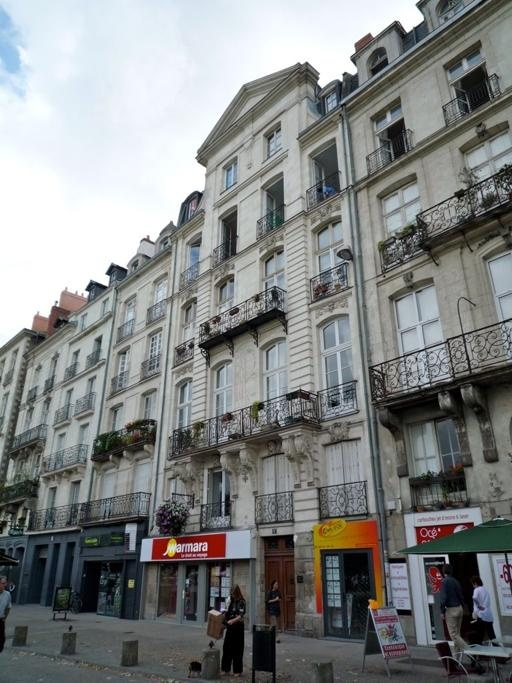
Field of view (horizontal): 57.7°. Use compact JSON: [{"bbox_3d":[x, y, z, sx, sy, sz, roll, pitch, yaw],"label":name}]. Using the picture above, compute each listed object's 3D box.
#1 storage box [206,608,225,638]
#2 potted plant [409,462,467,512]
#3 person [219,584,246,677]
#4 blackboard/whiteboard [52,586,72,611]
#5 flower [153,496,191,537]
[{"bbox_3d":[-0.630,4.451,7.219,0.249,0.427,0.661,0,-25,-4],"label":"storage box"},{"bbox_3d":[4.311,3.524,10.980,0.531,0.918,1.571,8,-26,-21],"label":"potted plant"},{"bbox_3d":[-0.373,4.702,7.537,0.372,1.257,0.551,0,-25,-4],"label":"person"},{"bbox_3d":[-8.112,10.858,19.474,0.591,0.897,0.968,9,-27,-22],"label":"blackboard/whiteboard"},{"bbox_3d":[-3.297,6.934,18.291,1.273,1.052,1.512,4,-32,-19],"label":"flower"}]
